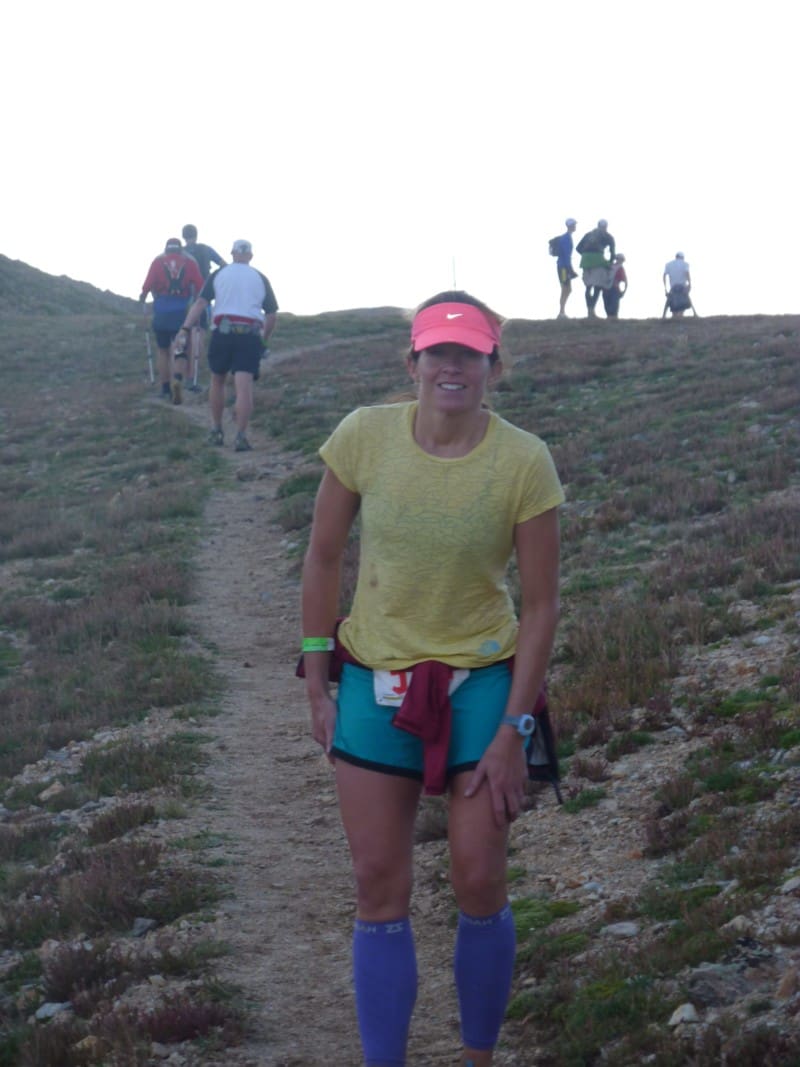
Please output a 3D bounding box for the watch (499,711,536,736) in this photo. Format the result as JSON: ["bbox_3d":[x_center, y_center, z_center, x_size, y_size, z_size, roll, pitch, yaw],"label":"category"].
[{"bbox_3d":[0.389,0.634,5.054,0.101,0.069,0.092,11,-2,-41],"label":"watch"}]

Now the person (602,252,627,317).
[{"bbox_3d":[4.246,-4.993,30.815,0.449,1.348,0.391,0,-29,11],"label":"person"}]

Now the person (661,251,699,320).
[{"bbox_3d":[5.729,-5.080,31.146,0.589,1.576,2.637,1,-4,10],"label":"person"}]

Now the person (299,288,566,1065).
[{"bbox_3d":[0.087,0.479,5.198,0.892,2.691,0.486,1,-4,5],"label":"person"}]
